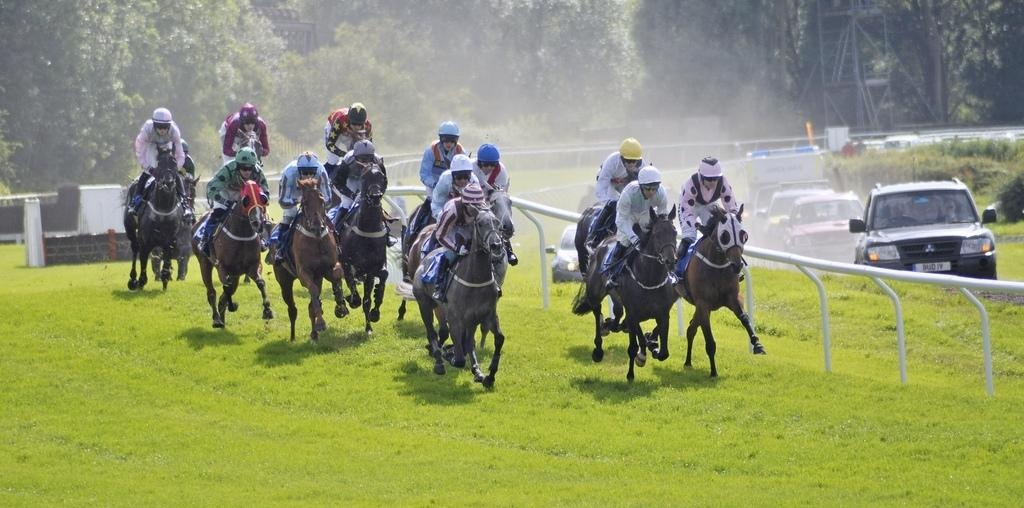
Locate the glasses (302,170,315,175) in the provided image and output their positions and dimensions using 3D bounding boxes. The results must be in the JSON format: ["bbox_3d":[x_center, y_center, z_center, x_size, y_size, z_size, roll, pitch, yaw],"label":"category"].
[{"bbox_3d":[-7.700,-3.124,49.112,0.527,0.193,0.081,-2,2,-11],"label":"glasses"}]

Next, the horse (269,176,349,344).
[{"bbox_3d":[-7.585,0.081,49.150,2.420,6.152,0.863,-2,2,-1],"label":"horse"}]

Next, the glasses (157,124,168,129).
[{"bbox_3d":[-13.895,-5.116,51.418,0.510,0.193,0.180,-2,2,-10],"label":"glasses"}]

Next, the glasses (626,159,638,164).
[{"bbox_3d":[4.656,-3.576,49.392,0.551,0.155,0.114,-2,2,-10],"label":"glasses"}]
